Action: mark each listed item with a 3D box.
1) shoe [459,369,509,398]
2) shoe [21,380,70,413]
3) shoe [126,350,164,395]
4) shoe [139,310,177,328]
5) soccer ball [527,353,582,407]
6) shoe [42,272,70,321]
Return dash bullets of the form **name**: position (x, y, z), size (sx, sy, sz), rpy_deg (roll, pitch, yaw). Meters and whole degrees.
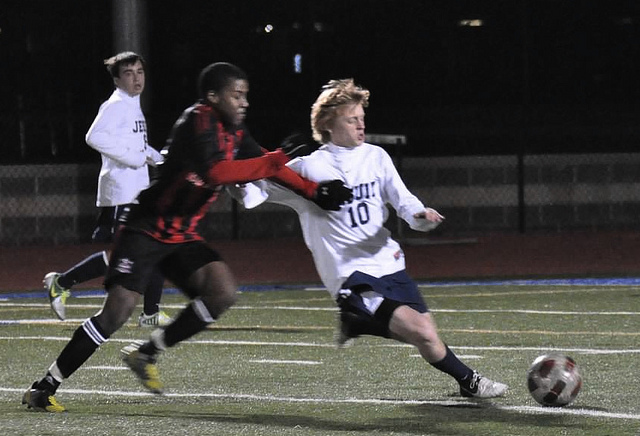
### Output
- **shoe**: position (1.349, 1.391, 9.183), size (0.190, 0.227, 0.527), rpy_deg (-33, 15, -37)
- **shoe**: position (-2.292, 1.503, 9.019), size (0.476, 0.188, 0.157), rpy_deg (10, -4, 33)
- **shoe**: position (-1.480, 1.327, 9.305), size (0.210, 0.414, 0.320), rpy_deg (-4, -2, 42)
- **shoe**: position (-1.835, 1.117, 12.066), size (0.420, 0.182, 0.311), rpy_deg (-1, -2, -29)
- **soccer ball**: position (2.048, 1.367, 9.156), size (0.457, 0.434, 0.428), rpy_deg (-1, -12, 0)
- **shoe**: position (-2.958, 0.830, 12.129), size (0.338, 0.570, 0.211), rpy_deg (-11, 9, 8)
